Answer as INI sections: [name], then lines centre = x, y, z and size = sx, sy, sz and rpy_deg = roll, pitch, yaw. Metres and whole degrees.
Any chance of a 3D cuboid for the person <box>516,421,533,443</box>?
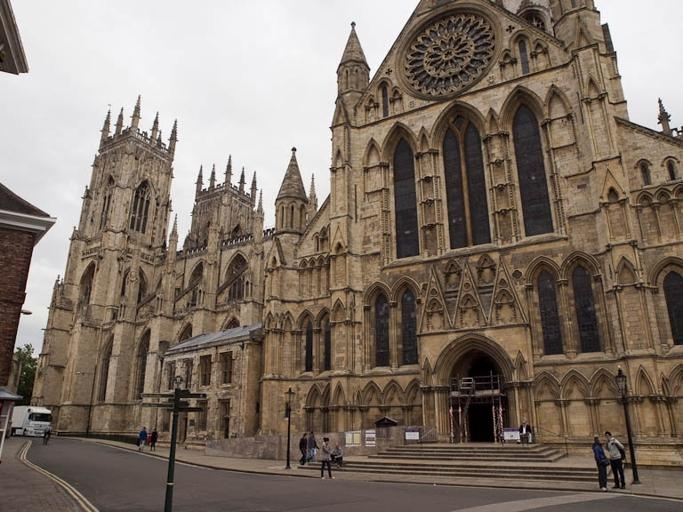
[person]
centre = 9.595, 9.266, 29.274
size = 0.786, 1.178, 0.646
rpy_deg = -8, -32, 20
